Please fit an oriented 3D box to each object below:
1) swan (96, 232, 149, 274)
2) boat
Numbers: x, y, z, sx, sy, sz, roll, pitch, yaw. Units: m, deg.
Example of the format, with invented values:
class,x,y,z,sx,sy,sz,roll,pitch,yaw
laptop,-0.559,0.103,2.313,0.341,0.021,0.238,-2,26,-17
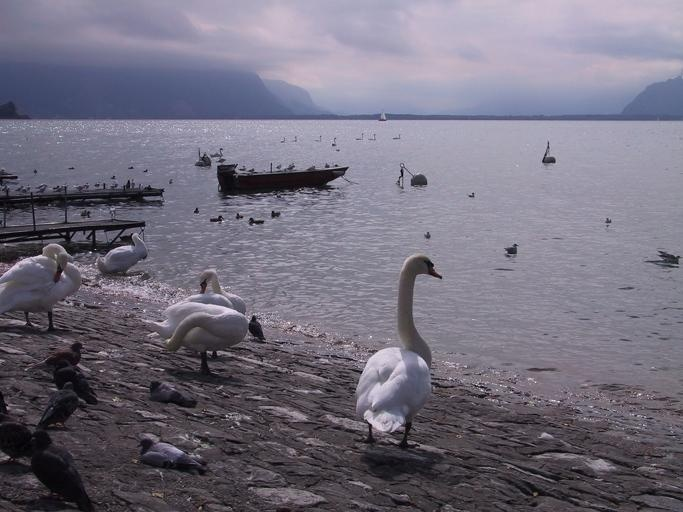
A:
class,x,y,z,sx,sy,sz,roll,pitch,yaw
swan,-9.768,-0.008,30.677,1.299,1.422,2.484,15,19,40
boat,-6.129,-7.475,70.675,14.130,2.329,4.368,-4,13,-18
